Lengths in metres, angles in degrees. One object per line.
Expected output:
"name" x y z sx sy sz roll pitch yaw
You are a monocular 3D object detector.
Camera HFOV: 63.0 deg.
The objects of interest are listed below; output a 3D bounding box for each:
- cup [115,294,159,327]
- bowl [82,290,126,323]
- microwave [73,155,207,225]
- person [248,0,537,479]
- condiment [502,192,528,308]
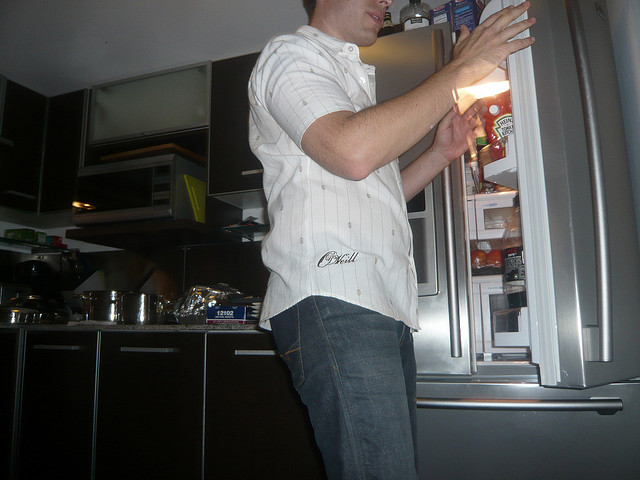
"cup" -0.956 0.355 2.710 0.196 0.156 0.199 3 -5 0
"bowl" -1.120 0.337 2.705 0.193 0.151 0.184 0 -2 0
"microwave" -1.079 -0.260 3.238 0.713 0.368 0.533 -5 -6 24
"person" 0.142 -0.076 1.440 0.667 1.357 0.330 1 -10 -10
"condiment" 0.697 0.062 1.871 0.095 0.461 0.133 0 2 23
